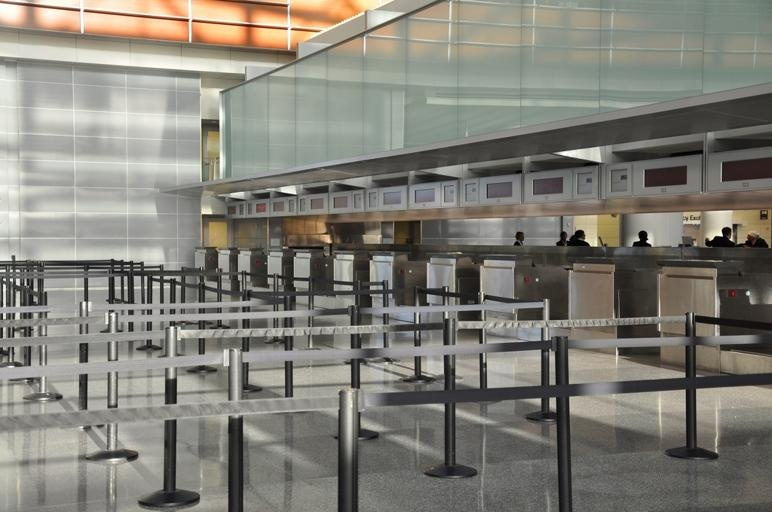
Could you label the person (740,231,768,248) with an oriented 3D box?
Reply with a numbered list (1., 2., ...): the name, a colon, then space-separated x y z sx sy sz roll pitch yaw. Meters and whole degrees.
1. person: 8.988 -0.413 17.395 0.917 0.333 1.011 0 0 14
